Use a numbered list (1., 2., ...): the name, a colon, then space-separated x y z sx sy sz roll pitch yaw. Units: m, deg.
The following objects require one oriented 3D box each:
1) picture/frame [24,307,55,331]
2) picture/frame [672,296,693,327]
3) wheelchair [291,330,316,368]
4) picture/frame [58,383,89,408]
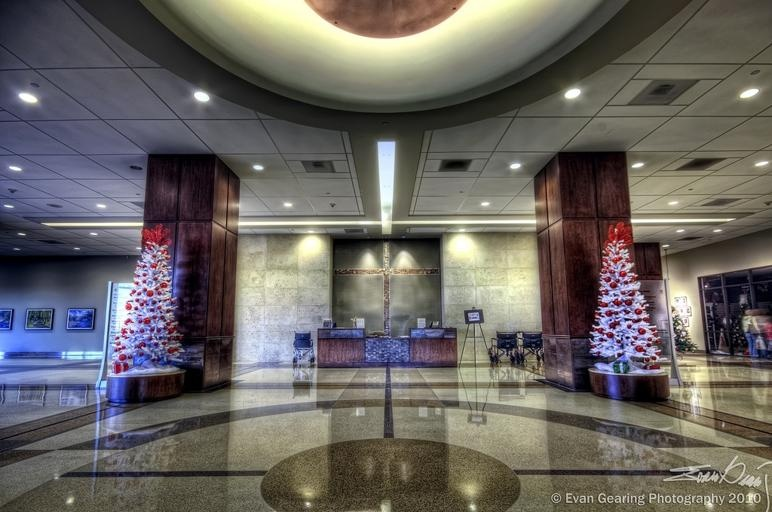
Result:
1. picture/frame: -14.748 2.732 17.862 1.165 0.840 0.102 -1 -7 -2
2. picture/frame: 12.548 2.308 17.908 0.430 1.265 1.064 -1 -1 11
3. wheelchair: -2.659 2.927 13.298 0.842 0.846 1.068 4 -19 -22
4. picture/frame: -6.124 2.752 8.235 0.428 0.046 0.344 0 33 -22
